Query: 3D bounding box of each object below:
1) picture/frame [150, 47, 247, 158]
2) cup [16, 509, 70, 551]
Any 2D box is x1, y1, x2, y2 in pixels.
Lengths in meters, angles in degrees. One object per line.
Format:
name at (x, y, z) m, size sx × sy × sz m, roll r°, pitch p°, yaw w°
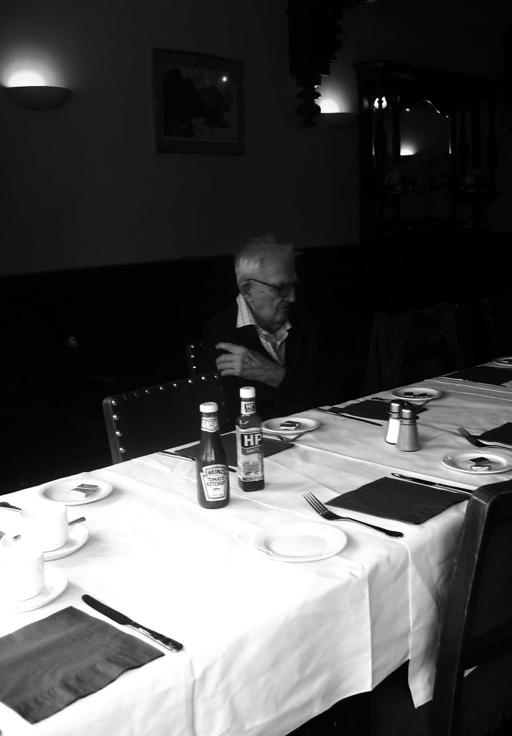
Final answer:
picture/frame at (-0.236, -1.014, 2.262) m, size 0.472 × 0.403 × 0.032 m, roll -6°, pitch 8°, yaw -38°
cup at (-0.317, 0.223, 0.870) m, size 0.069 × 0.051 × 0.070 m, roll 1°, pitch 10°, yaw 0°
